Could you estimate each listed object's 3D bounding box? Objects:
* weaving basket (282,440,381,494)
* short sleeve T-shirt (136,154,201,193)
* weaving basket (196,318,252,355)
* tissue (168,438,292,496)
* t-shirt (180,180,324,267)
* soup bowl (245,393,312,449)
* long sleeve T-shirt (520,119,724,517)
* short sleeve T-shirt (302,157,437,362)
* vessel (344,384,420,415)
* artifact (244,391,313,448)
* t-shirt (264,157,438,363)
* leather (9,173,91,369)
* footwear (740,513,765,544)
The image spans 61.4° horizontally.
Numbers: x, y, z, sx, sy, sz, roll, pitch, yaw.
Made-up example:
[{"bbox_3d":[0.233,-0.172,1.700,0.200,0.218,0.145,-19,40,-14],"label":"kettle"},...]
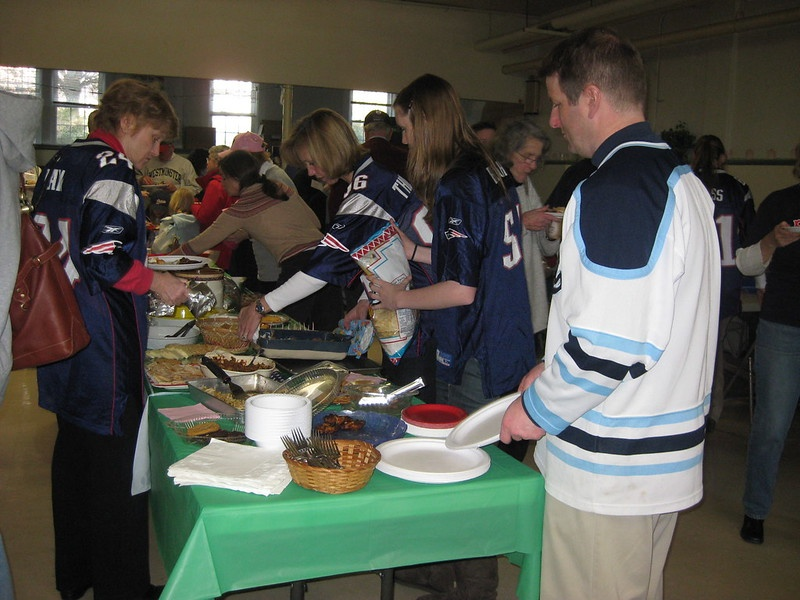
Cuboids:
[{"bbox_3d":[-0.165,0.436,1.757,0.152,0.050,0.147,10,15,26],"label":"weaving basket"},{"bbox_3d":[-2.529,-1.401,7.361,0.710,0.283,0.695,4,29,-6],"label":"short sleeve T-shirt"},{"bbox_3d":[-0.760,0.145,2.895,0.177,0.064,0.180,15,15,37],"label":"weaving basket"},{"bbox_3d":[-0.440,0.449,1.802,0.180,0.026,0.162,5,13,16],"label":"tissue"},{"bbox_3d":[-1.013,-0.449,4.491,0.827,0.522,0.490,-16,18,12],"label":"t-shirt"},{"bbox_3d":[-0.347,0.337,1.921,0.163,0.113,0.160,2,13,0],"label":"soup bowl"},{"bbox_3d":[0.596,0.051,1.763,0.526,1.018,0.328,2,9,8],"label":"long sleeve T-shirt"},{"bbox_3d":[-0.137,-0.220,2.703,0.226,0.697,0.776,10,-29,29],"label":"short sleeve T-shirt"},{"bbox_3d":[-0.059,0.345,2.321,0.164,0.053,0.120,0,1,-11],"label":"vessel"},{"bbox_3d":[-0.344,0.335,1.940,0.159,0.111,0.160,10,15,32],"label":"artifact"},{"bbox_3d":[-0.184,-0.161,2.814,0.735,0.745,0.226,3,29,-32],"label":"t-shirt"},{"bbox_3d":[-1.204,-0.027,2.328,0.233,0.517,0.182,0,9,-9],"label":"leather"},{"bbox_3d":[1.738,1.131,3.354,0.077,0.151,0.159,1,14,4],"label":"footwear"}]
